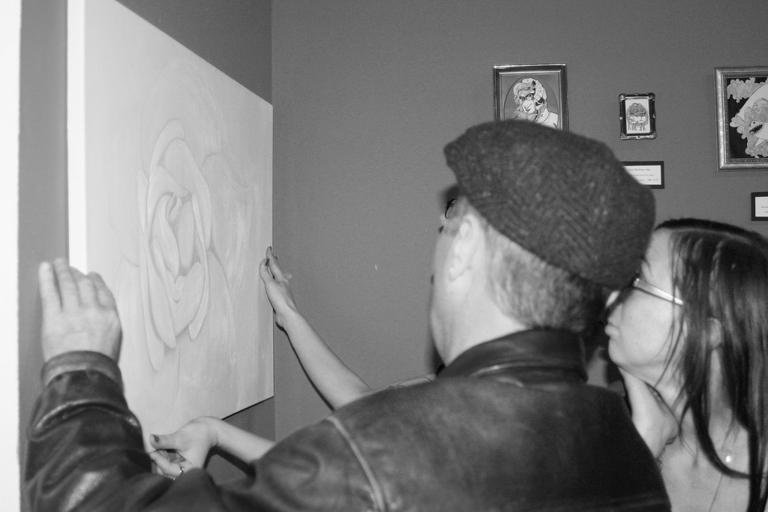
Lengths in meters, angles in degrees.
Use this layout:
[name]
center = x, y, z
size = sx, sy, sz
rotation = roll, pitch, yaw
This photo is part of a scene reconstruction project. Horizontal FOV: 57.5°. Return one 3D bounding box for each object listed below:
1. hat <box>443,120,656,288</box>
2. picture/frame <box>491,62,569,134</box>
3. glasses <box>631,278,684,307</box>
[hat]
center = 0.371, -0.114, 1.533
size = 0.457, 0.366, 0.147
rotation = -2, 7, -6
[picture/frame]
center = 0.516, -0.534, 2.470
size = 0.245, 0.284, 0.035
rotation = 0, -26, 1
[glasses]
center = 0.756, 0.094, 1.918
size = 0.133, 0.032, 0.021
rotation = 31, 17, 16
